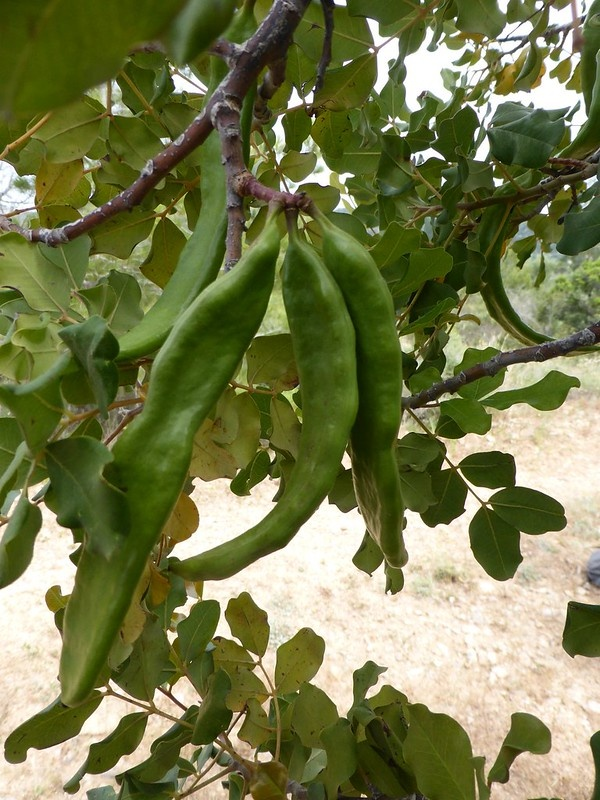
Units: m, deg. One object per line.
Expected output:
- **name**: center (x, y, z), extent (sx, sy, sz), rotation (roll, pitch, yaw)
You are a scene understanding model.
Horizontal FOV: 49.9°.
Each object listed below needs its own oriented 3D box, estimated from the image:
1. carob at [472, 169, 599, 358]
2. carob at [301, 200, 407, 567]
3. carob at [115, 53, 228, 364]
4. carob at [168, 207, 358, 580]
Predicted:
- **carob**: center (0.313, -0.188, 0.972), extent (0.087, 0.226, 0.205), rotation (-2, 28, 10)
- **carob**: center (0.042, -0.014, 0.477), extent (0.068, 0.247, 0.048), rotation (-3, -6, -36)
- **carob**: center (-0.079, -0.142, 0.563), extent (0.054, 0.063, 0.235), rotation (0, 59, 24)
- **carob**: center (-0.009, 0.004, 0.471), extent (0.097, 0.285, 0.084), rotation (17, -19, -26)
